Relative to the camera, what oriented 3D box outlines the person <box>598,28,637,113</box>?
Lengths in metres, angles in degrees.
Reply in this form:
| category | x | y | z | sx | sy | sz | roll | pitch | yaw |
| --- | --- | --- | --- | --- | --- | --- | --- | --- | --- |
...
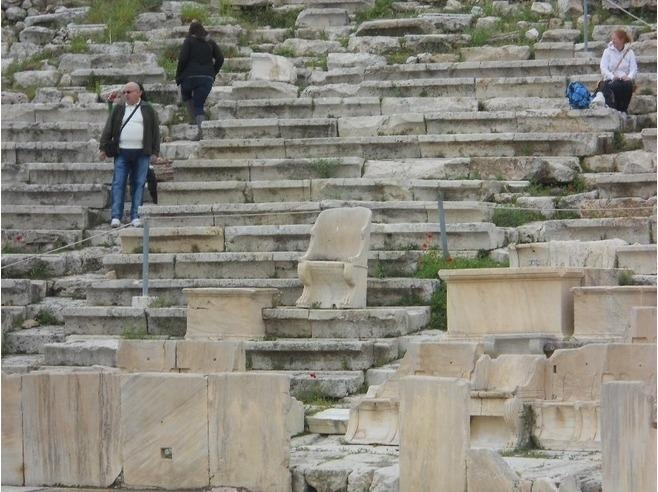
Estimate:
| category | x | y | z | sx | sy | sz | roll | pitch | yaw |
| --- | --- | --- | --- | --- | --- | --- | --- | --- | --- |
| person | 4.986 | -2.993 | 45.515 | 0.590 | 1.515 | 0.474 | 3 | 8 | 39 |

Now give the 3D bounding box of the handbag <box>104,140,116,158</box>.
| category | x | y | z | sx | sy | sz | roll | pitch | yaw |
| --- | --- | --- | --- | --- | --- | --- | --- | --- | --- |
| handbag | -3.710 | -1.592 | 43.825 | 0.117 | 0.259 | 0.285 | -11 | 16 | -34 |

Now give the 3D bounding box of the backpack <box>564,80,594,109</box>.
| category | x | y | z | sx | sy | sz | roll | pitch | yaw |
| --- | --- | --- | --- | --- | --- | --- | --- | --- | --- |
| backpack | 4.248 | -2.569 | 45.159 | 0.485 | 0.527 | 0.366 | -4 | 0 | -6 |

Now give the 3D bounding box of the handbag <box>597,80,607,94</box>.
| category | x | y | z | sx | sy | sz | roll | pitch | yaw |
| --- | --- | --- | --- | --- | --- | --- | --- | --- | --- |
| handbag | 4.663 | -2.719 | 45.430 | 0.127 | 0.191 | 0.053 | 19 | -1 | 32 |

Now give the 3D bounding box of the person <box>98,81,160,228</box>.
| category | x | y | z | sx | sy | sz | roll | pitch | yaw |
| --- | --- | --- | --- | --- | --- | --- | --- | --- | --- |
| person | -3.355 | -1.502 | 43.818 | 0.989 | 2.282 | 0.619 | -4 | 13 | -6 |

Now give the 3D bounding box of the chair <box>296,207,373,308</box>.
| category | x | y | z | sx | sy | sz | roll | pitch | yaw |
| --- | --- | --- | --- | --- | --- | --- | --- | --- | --- |
| chair | 0.060 | 0.197 | 41.703 | 0.937 | 1.686 | 1.030 | 0 | -5 | 21 |
